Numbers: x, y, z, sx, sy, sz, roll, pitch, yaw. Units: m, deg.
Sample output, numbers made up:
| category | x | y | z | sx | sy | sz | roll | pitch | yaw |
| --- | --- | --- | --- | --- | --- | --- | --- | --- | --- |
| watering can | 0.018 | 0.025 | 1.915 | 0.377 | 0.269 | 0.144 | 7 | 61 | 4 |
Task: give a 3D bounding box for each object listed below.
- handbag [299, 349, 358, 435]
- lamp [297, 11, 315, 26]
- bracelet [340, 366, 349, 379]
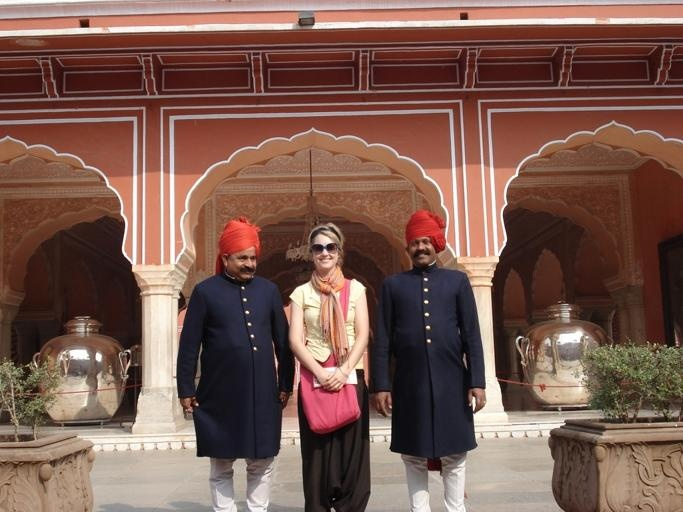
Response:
| category | x | y | z | sx | sy | sz | roll | pitch | yaw |
| --- | --- | --- | --- | --- | --- | --- | --- | --- | --- |
| handbag | -0.078 | 0.914 | 5.637 | 0.374 | 0.425 | 0.100 | -2 | -11 | -2 |
| lamp | -0.353 | -2.369 | 8.766 | 0.159 | 0.097 | 0.158 | -1 | 11 | -3 |
| bracelet | 0.031 | 0.741 | 5.624 | 0.047 | 0.080 | 0.029 | -1 | -5 | -7 |
